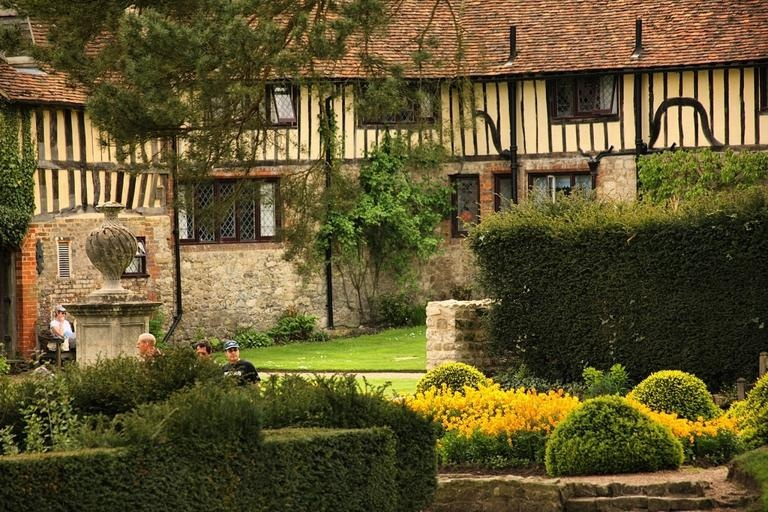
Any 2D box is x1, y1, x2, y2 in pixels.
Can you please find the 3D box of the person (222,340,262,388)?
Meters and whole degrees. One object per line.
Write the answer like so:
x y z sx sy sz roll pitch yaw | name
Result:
-2.732 2.043 36.496 0.890 0.868 0.501 -4 -5 8 | person

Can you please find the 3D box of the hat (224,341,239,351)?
-2.858 1.706 36.734 0.208 0.113 0.287 0 -5 -12 | hat

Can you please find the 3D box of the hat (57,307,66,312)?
-6.990 1.223 42.950 0.233 0.115 0.313 3 3 -15 | hat
